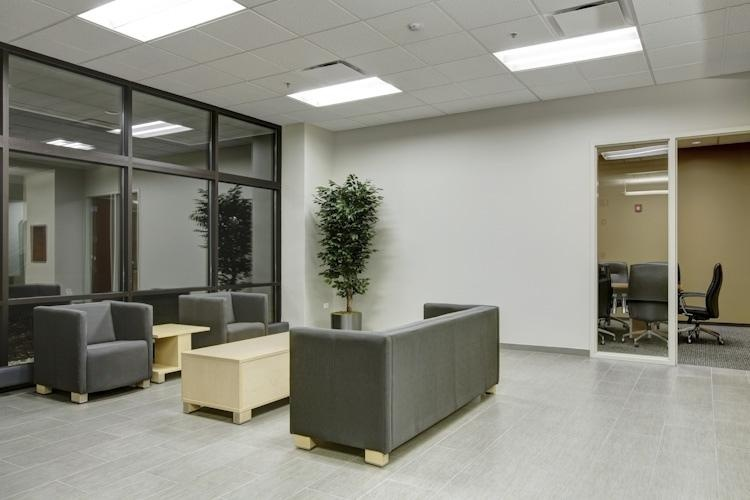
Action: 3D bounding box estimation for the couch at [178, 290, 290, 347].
[{"bbox_3d":[-2.378,1.215,7.923,1.003,0.955,1.275,-1,-1,19],"label":"couch"}]

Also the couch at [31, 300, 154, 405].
[{"bbox_3d":[-3.692,1.284,6.498,1.113,1.078,1.196,1,0,14],"label":"couch"}]

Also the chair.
[{"bbox_3d":[4.425,0.884,8.508,1.864,0.983,1.789,1,-1,-24],"label":"chair"}]
